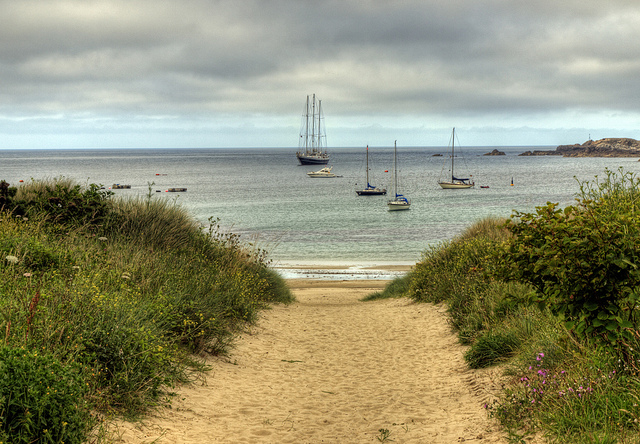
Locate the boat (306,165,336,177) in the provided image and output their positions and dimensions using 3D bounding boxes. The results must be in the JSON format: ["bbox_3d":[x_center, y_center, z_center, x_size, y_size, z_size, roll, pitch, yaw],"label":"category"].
[{"bbox_3d":[0.240,-8.257,126.186,4.439,2.064,1.962,-3,13,-5],"label":"boat"}]

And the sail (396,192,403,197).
[{"bbox_3d":[7.685,-2.731,73.906,0.601,0.418,0.641,-1,5,4],"label":"sail"}]
